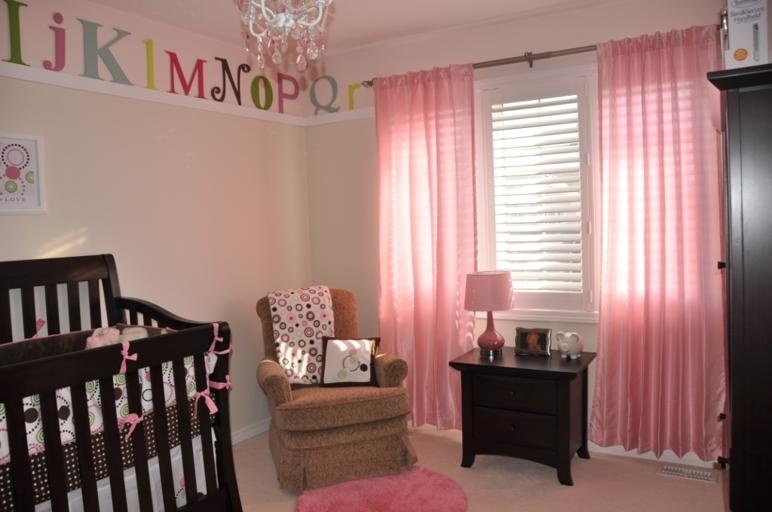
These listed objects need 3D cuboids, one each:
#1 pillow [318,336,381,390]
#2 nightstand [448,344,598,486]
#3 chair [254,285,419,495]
[{"bbox_3d":[-0.283,0.783,3.984,0.366,0.342,0.334,0,-23,2],"label":"pillow"},{"bbox_3d":[0.998,0.935,4.102,1.130,0.998,0.773,-1,-1,27],"label":"nightstand"},{"bbox_3d":[-0.416,0.908,4.055,1.010,1.183,0.955,-5,11,-18],"label":"chair"}]
